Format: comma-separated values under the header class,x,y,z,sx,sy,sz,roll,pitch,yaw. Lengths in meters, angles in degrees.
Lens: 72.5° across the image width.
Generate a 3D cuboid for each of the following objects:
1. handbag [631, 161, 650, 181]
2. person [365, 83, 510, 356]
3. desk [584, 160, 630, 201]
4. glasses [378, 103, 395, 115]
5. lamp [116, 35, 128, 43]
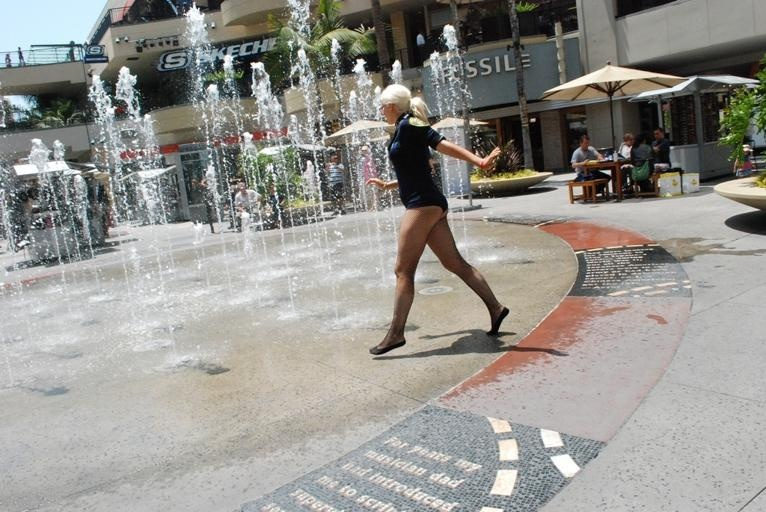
class,x,y,z,sx,sy,sz,roll,pitch,yaw
handbag,6.756,-2.205,13.720,0.311,0.479,0.522,-10,-6,-40
person,0.433,-0.395,5.221,1.375,2.712,1.076,-7,10,9
desk,5.973,-1.962,14.383,1.482,1.078,1.444,2,6,37
glasses,0.038,-1.425,5.135,0.122,0.090,0.131,1,29,-6
lamp,-18.113,-14.913,36.265,0.788,0.378,0.224,-6,11,-19
